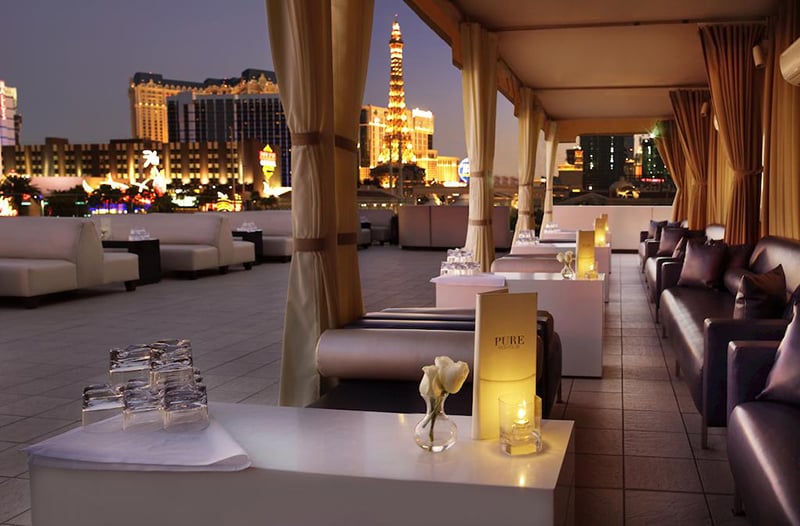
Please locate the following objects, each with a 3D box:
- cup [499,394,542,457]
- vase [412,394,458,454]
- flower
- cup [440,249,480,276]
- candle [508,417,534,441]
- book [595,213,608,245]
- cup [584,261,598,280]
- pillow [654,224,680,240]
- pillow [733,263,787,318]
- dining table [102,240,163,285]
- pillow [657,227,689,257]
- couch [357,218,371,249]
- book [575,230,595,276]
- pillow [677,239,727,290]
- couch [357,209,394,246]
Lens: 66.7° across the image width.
[{"bbox_3d":[0.439,0.571,2.227,0.159,0.204,0.179,-2,0,11],"label":"cup"},{"bbox_3d":[0.127,0.580,2.225,0.147,0.215,0.156,0,0,25],"label":"vase"},{"bbox_3d":[0.141,0.510,2.185,0.188,0.313,0.162,2,-7,5],"label":"flower"},{"bbox_3d":[0.482,-0.004,4.919,0.231,0.173,0.241,-1,4,0],"label":"cup"},{"bbox_3d":[0.425,0.585,2.137,0.076,0.052,0.076,-3,4,-24],"label":"candle"},{"bbox_3d":[2.583,-0.431,7.804,0.172,0.384,0.549,5,11,20],"label":"book"},{"bbox_3d":[1.494,0.061,4.750,0.112,0.124,0.116,-1,1,0],"label":"cup"},{"bbox_3d":[3.821,-0.448,8.721,0.234,0.102,0.255,-10,25,10],"label":"pillow"},{"bbox_3d":[2.155,0.216,3.605,0.428,0.345,0.165,-14,13,-28],"label":"pillow"},{"bbox_3d":[-3.589,-0.089,8.270,0.960,0.662,0.541,4,9,27],"label":"dining table"},{"bbox_3d":[3.338,-0.265,7.428,0.350,0.448,0.168,-6,-35,47],"label":"pillow"},{"bbox_3d":[-0.866,-0.711,14.898,0.333,0.708,1.504,1,11,-4],"label":"couch"},{"bbox_3d":[1.480,-0.071,4.783,0.039,0.380,0.198,-1,-1,-30],"label":"book"},{"bbox_3d":[2.697,0.020,5.430,0.202,0.371,0.403,-17,9,-29],"label":"pillow"},{"bbox_3d":[-0.614,-1.028,15.912,1.067,1.115,0.837,1,1,9],"label":"couch"}]
